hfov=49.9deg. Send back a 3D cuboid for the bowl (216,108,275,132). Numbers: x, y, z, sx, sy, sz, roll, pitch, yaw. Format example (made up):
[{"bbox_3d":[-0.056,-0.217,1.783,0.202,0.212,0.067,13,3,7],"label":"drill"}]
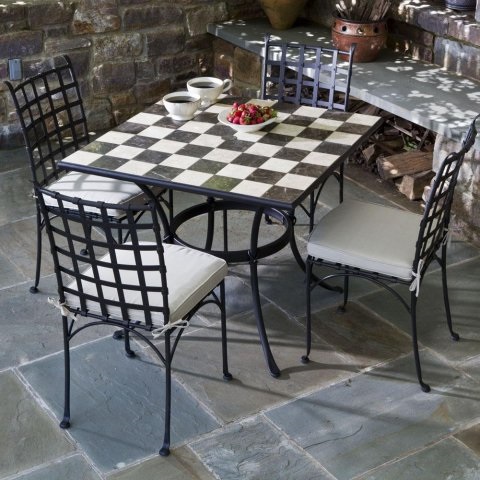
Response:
[{"bbox_3d":[0.026,-0.526,2.248,0.159,0.055,0.129,-20,35,-31],"label":"bowl"}]
